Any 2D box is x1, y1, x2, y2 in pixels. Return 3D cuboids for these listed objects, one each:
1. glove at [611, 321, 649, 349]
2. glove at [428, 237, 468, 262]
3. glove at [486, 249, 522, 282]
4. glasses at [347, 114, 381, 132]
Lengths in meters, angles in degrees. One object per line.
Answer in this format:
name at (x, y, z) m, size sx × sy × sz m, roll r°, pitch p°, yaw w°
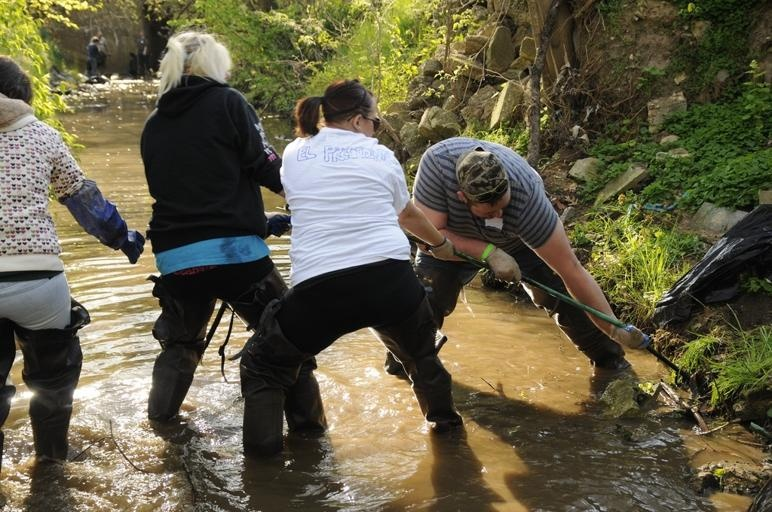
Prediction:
glove at (2.142, 0.694, 6.052) m, size 0.463 × 0.135 × 0.129 m, roll 23°, pitch 33°, yaw -21°
glove at (0.472, -0.042, 5.707) m, size 0.205 × 0.090 × 0.237 m, roll 7°, pitch -17°, yaw 23°
glove at (0.964, 0.082, 5.767) m, size 0.320 × 0.081 × 0.209 m, roll 29°, pitch 38°, yaw -20°
glasses at (-0.212, -1.021, 5.267) m, size 0.194 × 0.066 × 0.196 m, roll 46°, pitch 17°, yaw 6°
